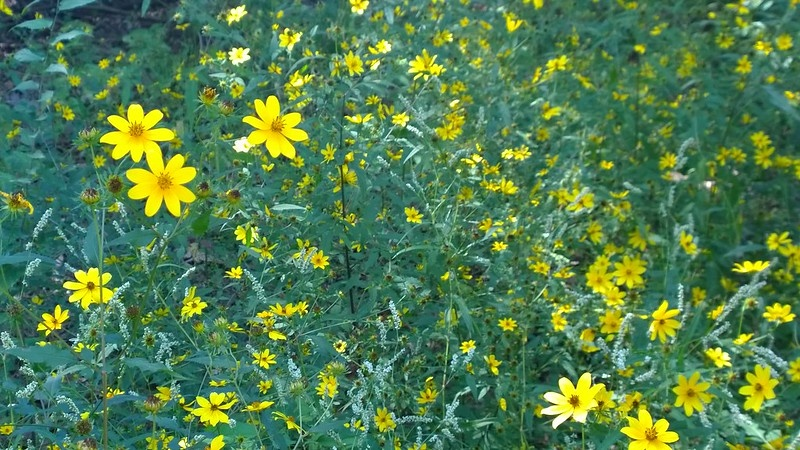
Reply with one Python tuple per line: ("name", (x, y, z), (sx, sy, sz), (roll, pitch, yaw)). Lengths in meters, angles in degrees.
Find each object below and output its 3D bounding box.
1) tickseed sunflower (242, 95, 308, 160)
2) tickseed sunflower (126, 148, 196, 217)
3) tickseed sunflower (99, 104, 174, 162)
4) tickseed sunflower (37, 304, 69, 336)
("tickseed sunflower", (-0.708, -0.544, 4.557), (0.426, 0.136, 0.409), (0, -23, 44))
("tickseed sunflower", (-1.301, -0.214, 4.320), (0.303, 0.364, 0.298), (22, 22, 38))
("tickseed sunflower", (-1.447, -0.515, 4.417), (0.365, 0.087, 0.384), (-1, -10, 7))
("tickseed sunflower", (-2.024, 0.567, 4.687), (0.141, 0.053, 0.184), (12, 3, 11))
